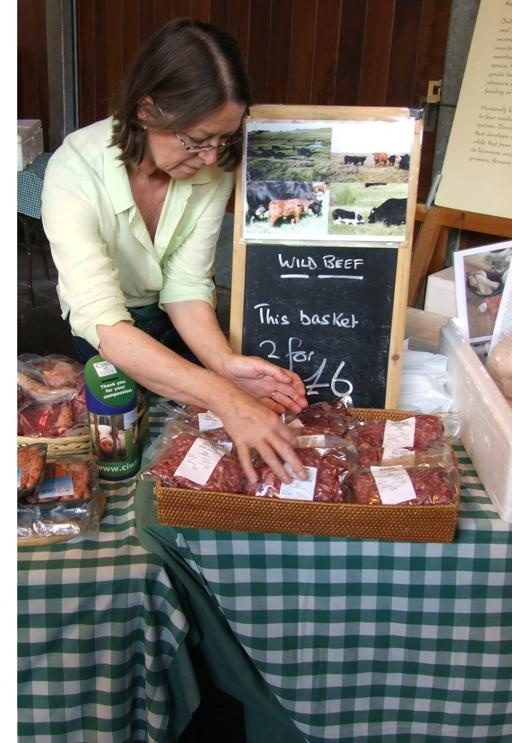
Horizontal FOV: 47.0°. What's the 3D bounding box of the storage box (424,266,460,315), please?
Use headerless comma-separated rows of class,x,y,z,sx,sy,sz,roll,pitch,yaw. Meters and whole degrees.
storage box,0.848,-0.377,2.694,0.141,0.197,0.335,10,34,13
